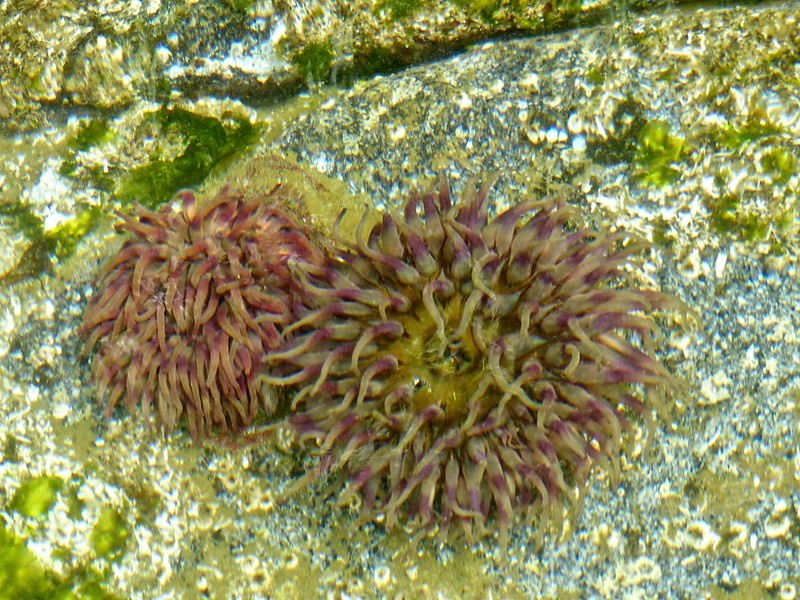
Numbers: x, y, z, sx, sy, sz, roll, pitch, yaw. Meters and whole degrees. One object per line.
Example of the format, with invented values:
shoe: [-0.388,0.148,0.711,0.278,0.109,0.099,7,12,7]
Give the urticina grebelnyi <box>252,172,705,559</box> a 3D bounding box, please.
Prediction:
urticina grebelnyi: [0.541,0.579,6.210,1.905,2.326,1.794,14,21,22]

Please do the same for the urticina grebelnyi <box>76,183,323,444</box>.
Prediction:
urticina grebelnyi: [-1.124,0.231,5.950,1.334,1.481,1.144,-24,33,-37]
